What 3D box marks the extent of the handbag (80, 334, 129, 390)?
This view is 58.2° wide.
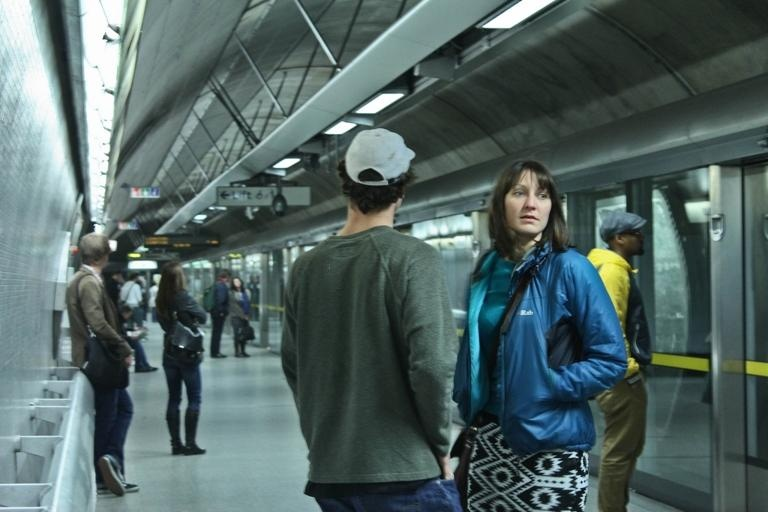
[{"bbox_3d":[-2.427,0.917,5.945,0.451,0.461,0.227,4,10,6],"label":"handbag"}]

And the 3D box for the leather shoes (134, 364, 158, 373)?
[{"bbox_3d":[-4.640,2.206,13.435,0.421,0.160,0.147,0,-1,-13],"label":"leather shoes"}]

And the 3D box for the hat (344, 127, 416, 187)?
[{"bbox_3d":[-0.040,-0.477,3.256,0.324,0.232,0.160,-21,-41,-32],"label":"hat"}]

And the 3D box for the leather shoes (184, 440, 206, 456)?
[{"bbox_3d":[-2.076,2.107,7.548,0.246,0.144,0.119,1,-1,-16],"label":"leather shoes"}]

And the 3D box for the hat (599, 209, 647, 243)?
[{"bbox_3d":[1.801,-0.241,5.298,0.388,0.198,0.261,-29,2,11],"label":"hat"}]

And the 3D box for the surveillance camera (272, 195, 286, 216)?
[{"bbox_3d":[-1.825,-0.897,12.135,0.261,0.339,0.100,4,-3,3],"label":"surveillance camera"}]

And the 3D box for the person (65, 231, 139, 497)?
[{"bbox_3d":[-2.565,0.985,6.247,0.529,2.372,0.815,-3,0,-24],"label":"person"}]

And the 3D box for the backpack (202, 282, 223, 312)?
[{"bbox_3d":[-3.939,0.947,15.769,0.371,0.659,0.377,-3,0,-15],"label":"backpack"}]
